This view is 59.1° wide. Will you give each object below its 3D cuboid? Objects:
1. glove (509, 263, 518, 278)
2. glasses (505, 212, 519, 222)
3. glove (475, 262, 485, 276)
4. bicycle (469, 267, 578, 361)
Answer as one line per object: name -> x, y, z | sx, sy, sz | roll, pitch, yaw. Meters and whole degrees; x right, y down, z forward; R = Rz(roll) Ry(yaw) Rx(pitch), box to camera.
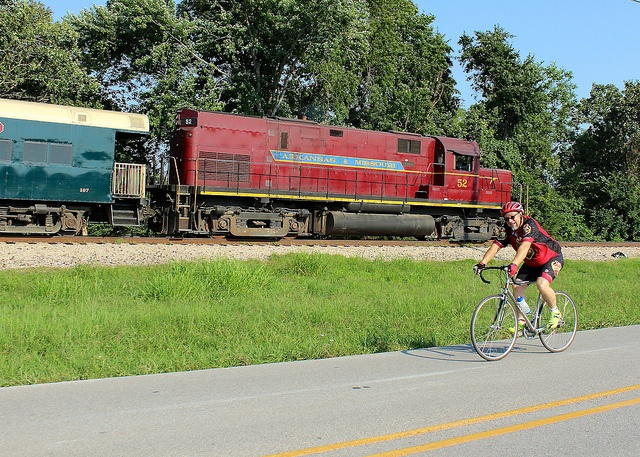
glove -> 3.178, 0.685, 9.281 | 0.161, 0.117, 0.225 | 1, -27, -1
glasses -> 3.207, -0.183, 9.488 | 0.214, 0.165, 0.120 | 4, 9, 19
glove -> 2.622, 0.651, 9.337 | 0.096, 0.234, 0.143 | 24, 7, -12
bicycle -> 3.450, 1.382, 9.626 | 2.189, 1.560, 0.389 | -2, 9, -21
